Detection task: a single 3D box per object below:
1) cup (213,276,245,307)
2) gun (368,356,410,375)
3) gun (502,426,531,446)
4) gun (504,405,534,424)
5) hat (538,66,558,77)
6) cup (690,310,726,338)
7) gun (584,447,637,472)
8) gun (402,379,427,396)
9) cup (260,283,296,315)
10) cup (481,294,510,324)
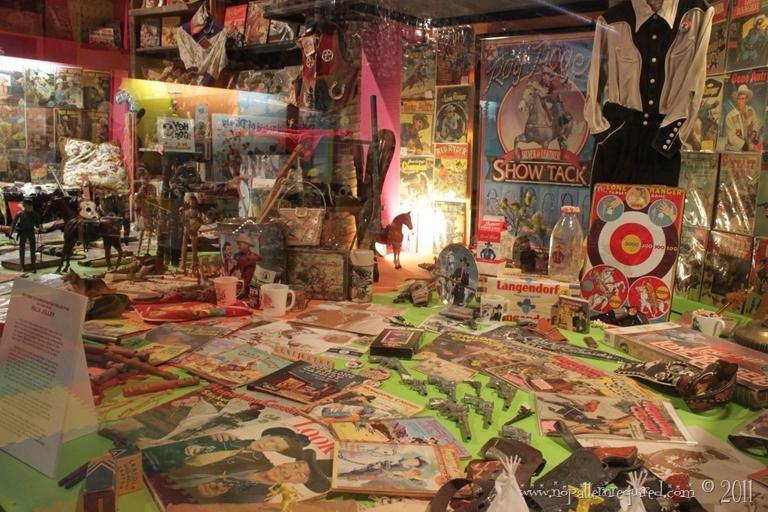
[{"bbox_3d":[-1.072,0.234,3.526,0.171,0.186,0.192,4,4,-6],"label":"cup"},{"bbox_3d":[0.033,0.584,2.797,0.112,0.038,0.110,-6,23,-42],"label":"gun"},{"bbox_3d":[0.588,0.780,2.249,0.117,0.045,0.145,3,4,-15],"label":"gun"},{"bbox_3d":[0.622,0.728,2.395,0.116,0.039,0.069,-17,14,-29],"label":"gun"},{"bbox_3d":[1.299,-1.461,4.096,0.109,0.094,0.026,6,17,25],"label":"hat"},{"bbox_3d":[1.957,0.403,3.194,0.138,0.145,0.207,-2,14,-14],"label":"cup"},{"bbox_3d":[0.928,0.804,2.080,0.186,0.069,0.158,6,4,23],"label":"gun"},{"bbox_3d":[0.159,0.659,2.607,0.078,0.017,0.075,7,18,-15],"label":"gun"},{"bbox_3d":[-0.705,0.289,3.424,0.236,0.201,0.166,4,4,-12],"label":"cup"},{"bbox_3d":[0.708,0.338,3.335,0.198,0.162,0.122,5,6,22],"label":"cup"}]
